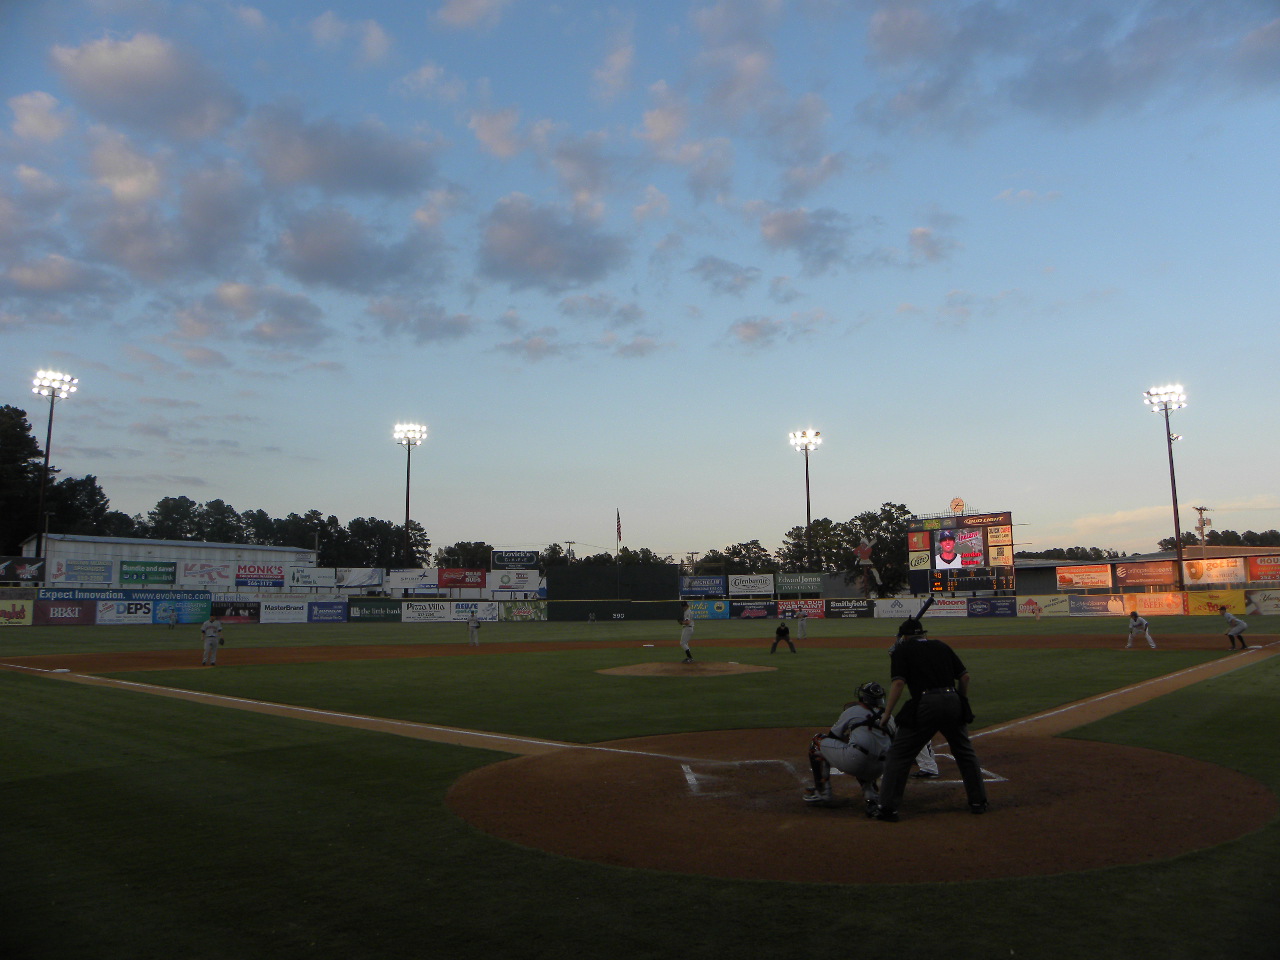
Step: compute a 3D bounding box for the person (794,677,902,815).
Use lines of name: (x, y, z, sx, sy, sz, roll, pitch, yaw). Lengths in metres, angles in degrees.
person: (2.658, 3.081, 11.246, 1.163, 1.337, 1.142, 20, -18, -30)

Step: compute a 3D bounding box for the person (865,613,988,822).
person: (3.174, 2.599, 10.587, 1.139, 2.095, 0.726, 4, -9, -28)
